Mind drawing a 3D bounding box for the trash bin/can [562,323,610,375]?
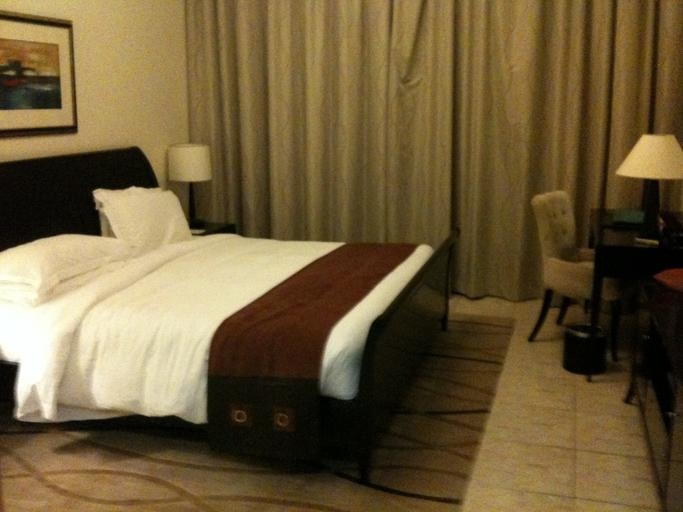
[{"bbox_3d":[1.570,0.618,4.078,0.298,0.330,0.299,-2,13,2],"label":"trash bin/can"}]

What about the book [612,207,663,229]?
[{"bbox_3d":[2.104,-0.281,4.407,0.203,0.052,0.203,4,25,20],"label":"book"}]

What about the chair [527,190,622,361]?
[{"bbox_3d":[1.803,0.095,4.427,0.794,1.093,0.784,-9,12,-26],"label":"chair"}]

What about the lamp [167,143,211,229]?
[{"bbox_3d":[-1.380,-0.642,5.525,0.373,0.795,0.368,6,22,10],"label":"lamp"}]
